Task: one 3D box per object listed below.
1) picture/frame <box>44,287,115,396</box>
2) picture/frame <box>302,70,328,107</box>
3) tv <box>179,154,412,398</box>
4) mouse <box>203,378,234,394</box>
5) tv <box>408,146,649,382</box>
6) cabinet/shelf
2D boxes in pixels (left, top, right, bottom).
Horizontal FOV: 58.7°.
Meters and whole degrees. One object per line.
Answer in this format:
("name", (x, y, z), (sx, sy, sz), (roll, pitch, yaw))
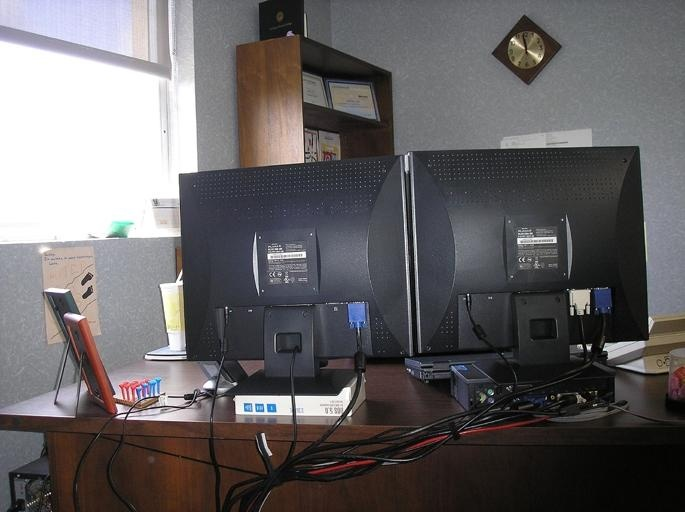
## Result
("picture/frame", (-0.944, 0.306, 2.152), (0.040, 0.429, 0.317), (-22, 22, -19))
("picture/frame", (-0.174, -0.975, 3.576), (0.023, 0.179, 0.241), (-24, 34, -30))
("tv", (-0.139, 0.063, 1.880), (0.750, 0.677, 0.136), (-1, 0, 5))
("mouse", (-0.409, 0.428, 1.982), (0.072, 0.020, 0.073), (1, 2, 0))
("tv", (0.566, 0.010, 1.870), (0.683, 0.631, 0.224), (-1, 3, -1))
("cabinet/shelf", (-0.109, -0.761, 3.663), (0.368, 0.862, 1.012), (10, 10, 34))
